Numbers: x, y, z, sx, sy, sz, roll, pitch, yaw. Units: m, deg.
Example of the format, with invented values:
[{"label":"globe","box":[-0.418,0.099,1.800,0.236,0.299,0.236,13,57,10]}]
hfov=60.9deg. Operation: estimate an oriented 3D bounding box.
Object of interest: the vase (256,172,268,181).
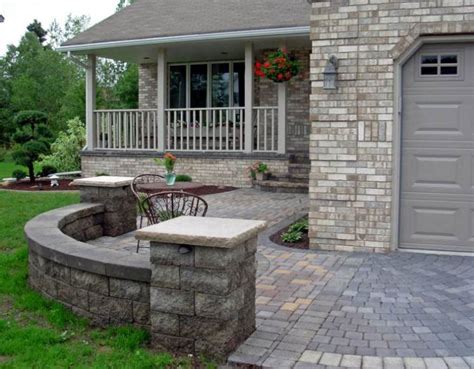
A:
[{"label":"vase","box":[0.702,-0.239,11.513,0.338,0.227,0.351,1,8,7]}]

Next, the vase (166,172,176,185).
[{"label":"vase","box":[-1.153,-0.100,7.023,0.212,0.221,0.201,1,-3,-12]}]

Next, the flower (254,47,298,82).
[{"label":"flower","box":[1.126,-3.468,11.833,1.260,0.996,1.817,0,8,2]}]

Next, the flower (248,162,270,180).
[{"label":"flower","box":[0.678,-0.370,11.768,0.560,0.457,0.526,2,1,27]}]
